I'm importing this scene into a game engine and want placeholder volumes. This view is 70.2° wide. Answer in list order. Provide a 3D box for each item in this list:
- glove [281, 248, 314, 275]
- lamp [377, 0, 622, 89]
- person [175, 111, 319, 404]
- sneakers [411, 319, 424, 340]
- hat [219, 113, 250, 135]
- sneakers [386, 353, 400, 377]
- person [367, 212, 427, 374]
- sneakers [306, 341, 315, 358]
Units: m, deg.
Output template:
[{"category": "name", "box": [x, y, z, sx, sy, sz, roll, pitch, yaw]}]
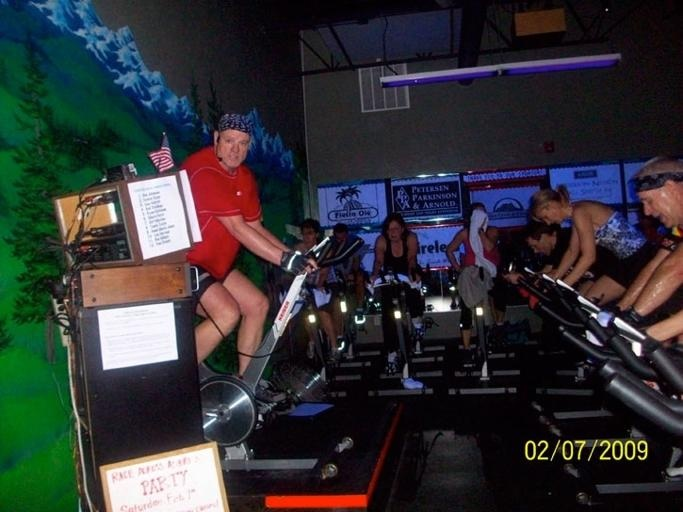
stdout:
[{"category": "glove", "box": [-0.255, 0.040, 2.817, 0.193, 0.147, 0.152, -1, 4, 44]}, {"category": "lamp", "box": [2.143, -2.564, 6.670, 3.021, 0.202, 0.458, -3, 3, 12]}, {"category": "person", "box": [-0.621, -0.014, 2.974, 0.604, 1.707, 0.633, -4, 3, -18]}, {"category": "sneakers", "box": [0.930, 0.877, 5.830, 0.157, 0.232, 0.078, -14, 6, -17]}, {"category": "hat", "box": [-0.655, -0.806, 2.955, 0.155, 0.099, 0.156, 8, 8, -36]}, {"category": "sneakers", "box": [0.538, 1.125, 5.012, 0.108, 0.135, 0.231, -1, -29, 4]}, {"category": "person", "box": [0.645, 0.364, 5.587, 0.594, 1.722, 1.407, -3, 3, 6]}, {"category": "sneakers", "box": [-0.346, 1.116, 5.763, 0.133, 0.231, 0.058, 4, 2, 36]}]
